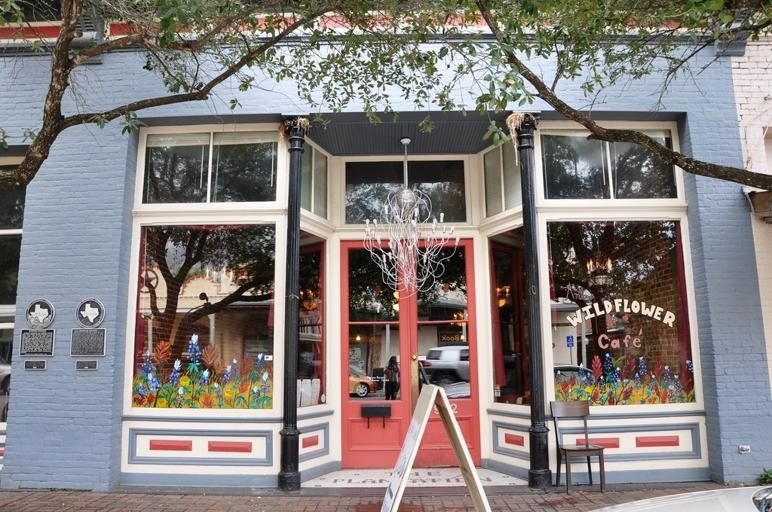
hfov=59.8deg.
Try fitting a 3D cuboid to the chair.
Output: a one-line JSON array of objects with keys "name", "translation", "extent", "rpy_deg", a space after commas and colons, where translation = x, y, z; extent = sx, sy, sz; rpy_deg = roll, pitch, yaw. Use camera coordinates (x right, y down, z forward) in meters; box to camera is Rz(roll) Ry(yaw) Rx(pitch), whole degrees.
[{"name": "chair", "translation": [2.503, 2.459, 8.747], "extent": [0.662, 1.094, 0.563], "rpy_deg": [1, -4, -6]}]

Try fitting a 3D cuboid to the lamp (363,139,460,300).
[{"name": "lamp", "translation": [0.350, -0.535, 9.951], "extent": [1.351, 2.304, 0.482], "rpy_deg": [1, -5, 1]}]
